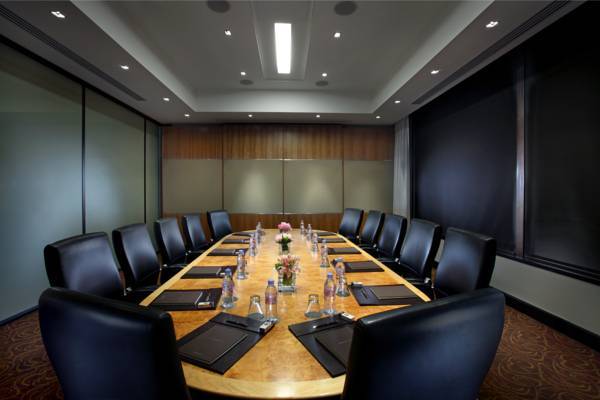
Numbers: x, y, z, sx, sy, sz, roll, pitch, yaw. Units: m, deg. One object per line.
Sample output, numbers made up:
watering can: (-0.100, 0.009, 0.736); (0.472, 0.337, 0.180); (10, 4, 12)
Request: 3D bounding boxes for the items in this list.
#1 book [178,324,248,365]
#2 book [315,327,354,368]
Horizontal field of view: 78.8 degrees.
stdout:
book: (-0.772, 1.270, 3.195); (0.298, 0.047, 0.330); (3, 9, 24)
book: (0.299, 1.345, 3.251); (0.335, 0.072, 0.352); (-14, 35, -25)
